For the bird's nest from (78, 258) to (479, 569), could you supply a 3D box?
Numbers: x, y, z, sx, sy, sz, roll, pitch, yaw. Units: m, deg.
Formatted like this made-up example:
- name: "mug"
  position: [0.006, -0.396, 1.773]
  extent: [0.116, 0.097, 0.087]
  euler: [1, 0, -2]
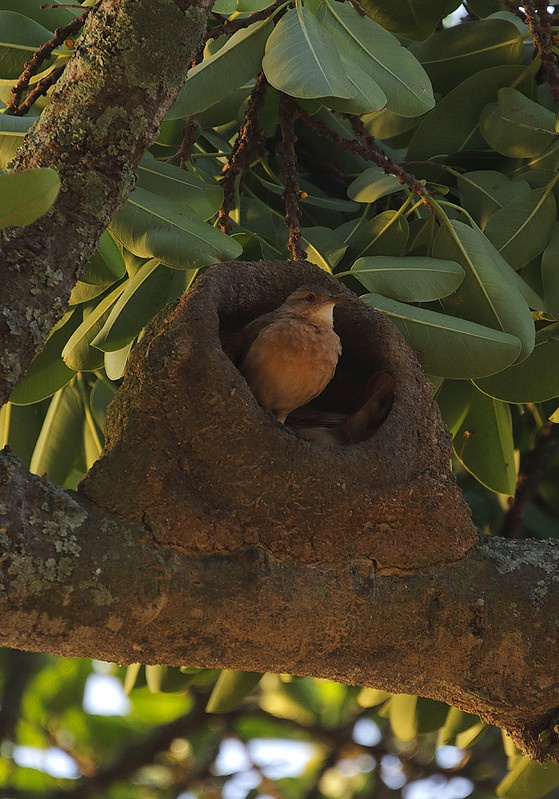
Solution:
- name: "bird's nest"
  position: [-0.039, 0.003, 3.611]
  extent: [1.056, 0.570, 0.939]
  euler: [-6, 43, -7]
